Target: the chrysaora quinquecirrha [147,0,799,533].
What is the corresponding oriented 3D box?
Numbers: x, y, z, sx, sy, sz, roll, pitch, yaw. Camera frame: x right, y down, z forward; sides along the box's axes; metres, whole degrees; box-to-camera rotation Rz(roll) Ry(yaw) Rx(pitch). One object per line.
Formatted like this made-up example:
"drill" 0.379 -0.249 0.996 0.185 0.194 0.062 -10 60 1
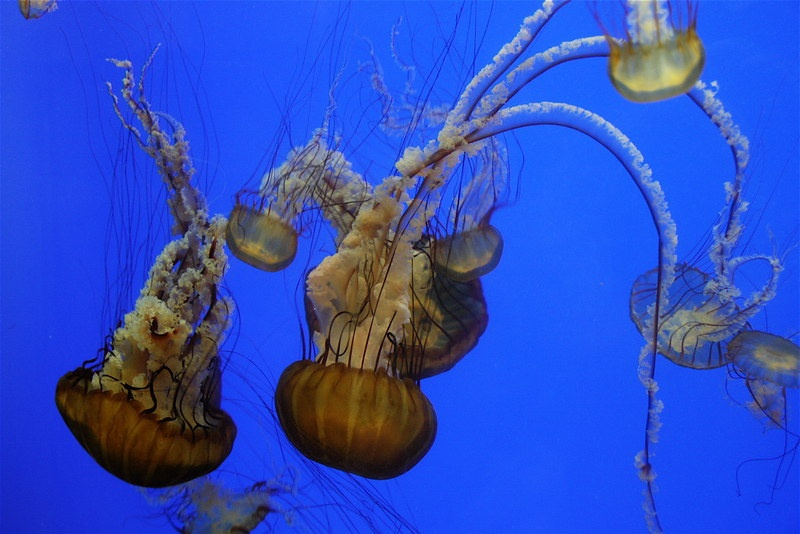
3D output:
"chrysaora quinquecirrha" 0.573 -0.245 4.997 2.250 2.619 1.461 7 -22 -6
